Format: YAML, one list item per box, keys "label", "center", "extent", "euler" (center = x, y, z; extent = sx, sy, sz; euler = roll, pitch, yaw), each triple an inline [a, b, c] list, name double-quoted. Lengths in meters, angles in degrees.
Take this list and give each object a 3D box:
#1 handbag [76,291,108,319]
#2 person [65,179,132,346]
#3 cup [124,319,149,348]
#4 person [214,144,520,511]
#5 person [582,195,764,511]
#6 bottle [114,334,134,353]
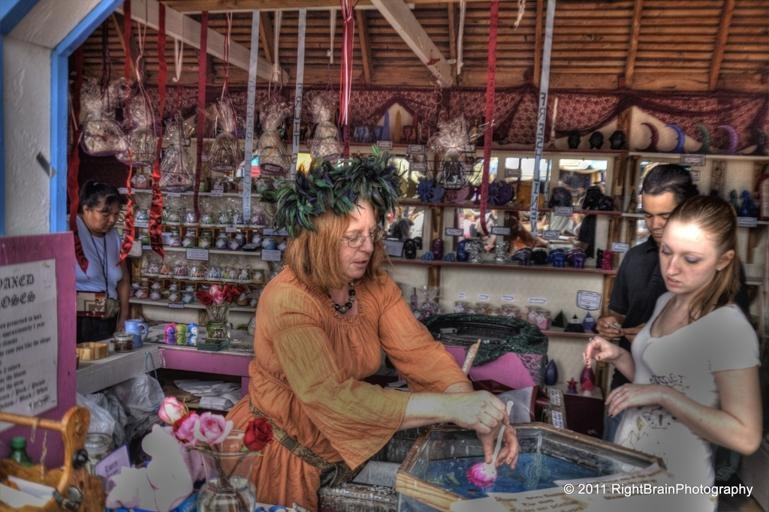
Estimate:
- label: "handbag"
  center: [-2.190, 0.358, 4.275]
  extent: [0.250, 0.173, 0.136]
  euler: [1, 3, 13]
- label: "person"
  center: [-2.136, 0.041, 4.300]
  extent: [0.353, 1.164, 0.600]
  euler: [-1, 3, -25]
- label: "cup"
  center: [-1.617, 0.507, 3.739]
  extent: [0.180, 0.180, 0.123]
  euler: [2, -2, 9]
- label: "person"
  center: [-0.081, 0.306, 2.332]
  extent: [0.999, 1.431, 0.532]
  euler: [1, 3, 11]
- label: "person"
  center: [1.100, 0.323, 2.219]
  extent: [0.492, 1.100, 0.679]
  euler: [0, 3, -10]
- label: "bottle"
  center: [-1.645, 0.535, 3.578]
  extent: [0.102, 0.106, 0.095]
  euler: [-1, 3, -32]
